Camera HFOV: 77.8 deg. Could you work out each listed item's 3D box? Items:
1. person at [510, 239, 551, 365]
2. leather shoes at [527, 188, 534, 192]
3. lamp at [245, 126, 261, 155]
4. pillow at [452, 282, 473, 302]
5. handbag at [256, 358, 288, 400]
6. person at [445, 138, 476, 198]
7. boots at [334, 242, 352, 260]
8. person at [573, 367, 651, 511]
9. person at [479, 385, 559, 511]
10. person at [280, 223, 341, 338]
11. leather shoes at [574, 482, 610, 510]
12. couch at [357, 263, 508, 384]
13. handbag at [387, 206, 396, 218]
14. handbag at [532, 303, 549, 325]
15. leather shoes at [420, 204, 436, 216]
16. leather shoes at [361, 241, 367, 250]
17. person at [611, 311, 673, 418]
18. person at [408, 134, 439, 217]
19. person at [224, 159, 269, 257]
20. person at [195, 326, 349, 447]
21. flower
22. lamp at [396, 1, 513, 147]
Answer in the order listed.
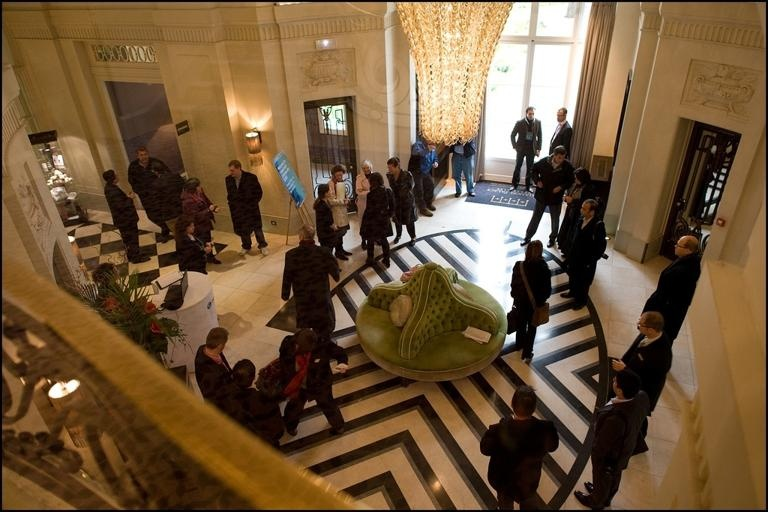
[{"bbox_3d":[1.466,0.494,4.829,0.377,1.343,0.310,4,27,15],"label":"person"},{"bbox_3d":[2.628,-1.189,8.577,0.125,0.094,0.105,-9,8,-36],"label":"leather shoes"},{"bbox_3d":[-1.796,-1.580,6.571,0.215,0.331,0.157,-6,26,-8],"label":"lamp"},{"bbox_3d":[0.828,0.391,5.028,0.211,0.063,0.188,44,30,23],"label":"pillow"},{"bbox_3d":[-0.918,0.999,3.974,0.323,0.322,0.245,-3,13,-27],"label":"handbag"},{"bbox_3d":[1.425,-1.565,8.378,0.473,1.026,0.455,-5,26,-6],"label":"person"},{"bbox_3d":[-0.581,-0.090,6.846,0.220,0.266,0.235,3,35,3],"label":"boots"},{"bbox_3d":[1.699,1.343,3.515,0.443,1.184,0.222,-22,32,-35],"label":"person"},{"bbox_3d":[0.953,1.483,3.393,0.431,1.254,0.455,18,32,36],"label":"person"},{"bbox_3d":[-0.777,0.322,5.242,0.700,1.438,0.442,-5,32,-6],"label":"person"},{"bbox_3d":[1.618,1.862,3.711,0.156,0.088,0.240,-19,26,-20],"label":"leather shoes"},{"bbox_3d":[0.490,0.745,4.801,1.323,0.683,1.318,3,38,6],"label":"couch"},{"bbox_3d":[0.088,-0.598,6.417,0.029,0.126,0.127,2,-1,21],"label":"handbag"},{"bbox_3d":[1.532,0.565,4.710,0.179,0.166,0.086,-16,42,-17],"label":"handbag"},{"bbox_3d":[0.727,-0.755,8.042,0.302,0.203,0.116,-4,45,0],"label":"leather shoes"},{"bbox_3d":[-0.300,-0.148,7.054,0.081,0.115,0.035,2,-4,9],"label":"leather shoes"},{"bbox_3d":[2.194,0.943,4.028,0.331,1.007,0.382,6,55,25],"label":"person"},{"bbox_3d":[0.586,-1.277,7.485,0.494,1.403,0.554,23,58,26],"label":"person"},{"bbox_3d":[-1.947,-0.682,6.767,0.451,1.416,0.277,-11,27,-16],"label":"person"},{"bbox_3d":[-0.886,1.136,4.004,1.155,1.241,0.490,-15,28,-25],"label":"person"},{"bbox_3d":[-2.146,0.451,3.988,0.564,0.810,0.735,-25,34,-39],"label":"flower"},{"bbox_3d":[0.426,-1.161,3.192,0.637,0.942,0.861,-2,26,2],"label":"lamp"}]
